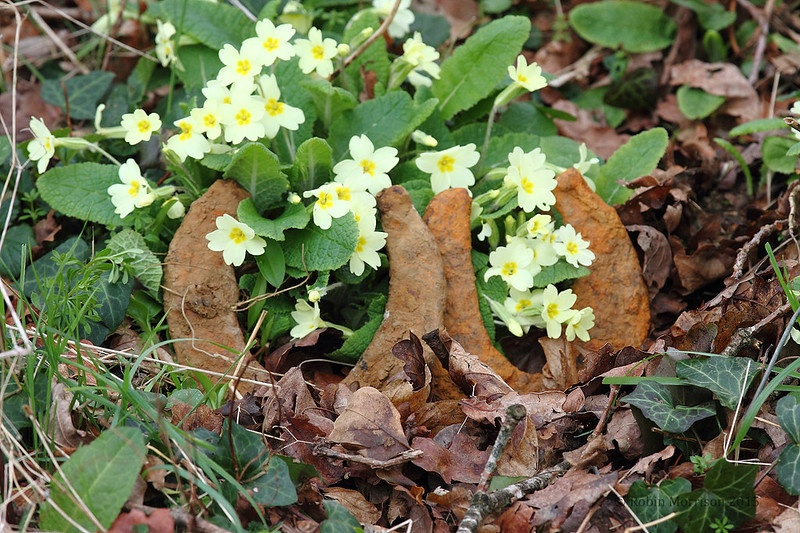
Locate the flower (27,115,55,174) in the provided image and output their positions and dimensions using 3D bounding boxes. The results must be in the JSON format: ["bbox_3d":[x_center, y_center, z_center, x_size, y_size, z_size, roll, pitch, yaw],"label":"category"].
[{"bbox_3d":[-1.351,-0.457,2.540,0.065,0.189,0.194,6,45,-44],"label":"flower"}]

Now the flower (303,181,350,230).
[{"bbox_3d":[-0.253,-0.214,2.461,0.170,0.041,0.169,-38,75,-5],"label":"flower"}]

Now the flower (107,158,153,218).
[{"bbox_3d":[-1.010,-0.291,2.498,0.150,0.068,0.184,-31,71,-11],"label":"flower"}]

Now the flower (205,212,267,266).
[{"bbox_3d":[-0.592,-0.083,2.460,0.170,0.167,0.149,35,73,13],"label":"flower"}]

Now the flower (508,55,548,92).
[{"bbox_3d":[0.503,-0.765,2.688,0.155,0.070,0.156,14,99,-15],"label":"flower"}]

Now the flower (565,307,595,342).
[{"bbox_3d":[0.671,0.200,2.532,0.115,0.132,0.054,-43,83,23],"label":"flower"}]

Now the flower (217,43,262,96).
[{"bbox_3d":[-0.565,-0.761,2.509,0.191,0.217,0.048,-9,90,-13],"label":"flower"}]

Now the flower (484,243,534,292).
[{"bbox_3d":[0.413,0.001,2.536,0.180,0.184,0.056,-14,107,3],"label":"flower"}]

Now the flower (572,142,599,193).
[{"bbox_3d":[0.755,-0.419,2.804,0.180,0.087,0.194,-32,119,-40],"label":"flower"}]
